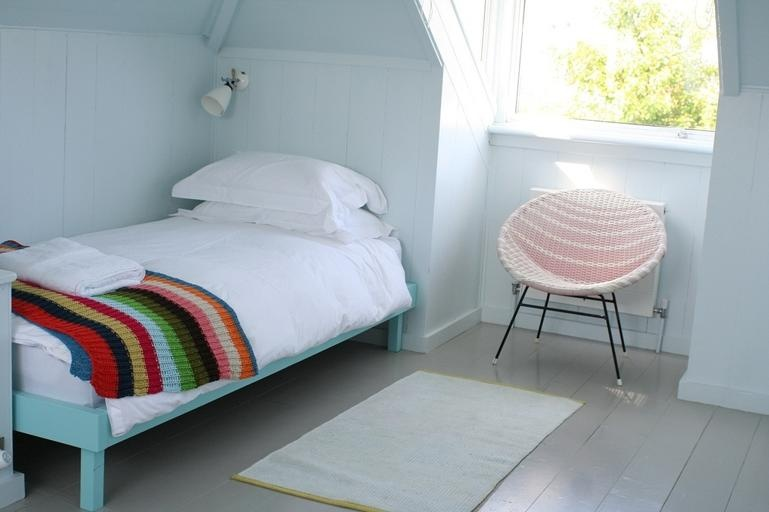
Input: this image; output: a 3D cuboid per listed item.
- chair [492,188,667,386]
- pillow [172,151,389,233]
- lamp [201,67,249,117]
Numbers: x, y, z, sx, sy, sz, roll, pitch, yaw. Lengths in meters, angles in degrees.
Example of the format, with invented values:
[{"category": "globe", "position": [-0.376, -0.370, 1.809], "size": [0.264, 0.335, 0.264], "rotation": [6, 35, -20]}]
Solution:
[{"category": "chair", "position": [1.163, 0.123, 3.236], "size": [0.973, 0.951, 0.827], "rotation": [9, 23, 43]}, {"category": "pillow", "position": [-0.620, -0.403, 3.020], "size": [0.881, 0.244, 0.554], "rotation": [12, 23, 18]}, {"category": "lamp", "position": [-1.030, -1.027, 3.331], "size": [0.256, 0.306, 0.272], "rotation": [7, 14, 16]}]
